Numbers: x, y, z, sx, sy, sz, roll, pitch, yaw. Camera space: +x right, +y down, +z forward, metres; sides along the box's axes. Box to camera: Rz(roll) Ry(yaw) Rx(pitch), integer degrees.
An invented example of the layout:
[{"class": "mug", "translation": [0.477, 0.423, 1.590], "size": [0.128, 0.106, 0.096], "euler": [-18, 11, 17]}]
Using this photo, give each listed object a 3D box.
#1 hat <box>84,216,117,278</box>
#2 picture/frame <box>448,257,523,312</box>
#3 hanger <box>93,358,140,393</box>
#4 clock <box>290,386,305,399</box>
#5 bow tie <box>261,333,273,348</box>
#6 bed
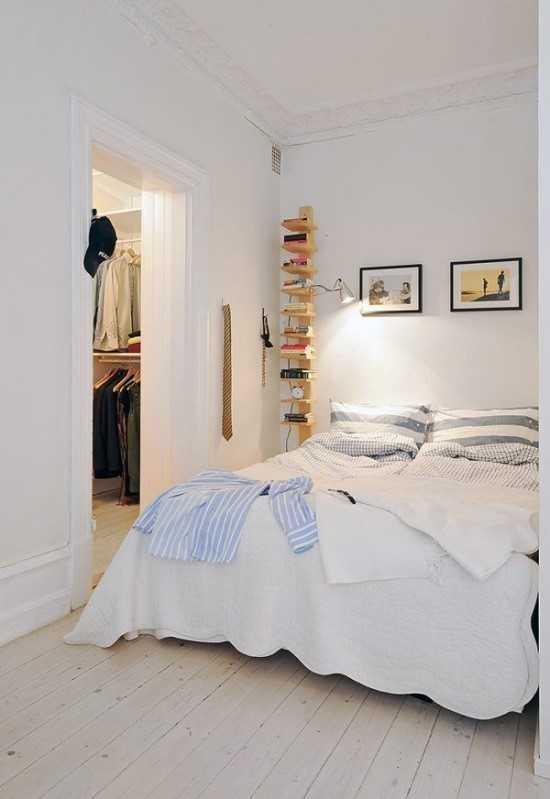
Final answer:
[{"class": "hat", "translation": [-0.755, -0.672, 2.685], "size": [0.100, 0.285, 0.204], "euler": [1, 3, 3]}, {"class": "picture/frame", "translation": [1.323, -0.715, 3.820], "size": [0.349, 0.280, 0.014], "euler": [1, 0, 35]}, {"class": "hanger", "translation": [-1.199, -0.179, 4.668], "size": [0.259, 0.177, 0.097], "euler": [-2, -5, 32]}, {"class": "clock", "translation": [0.160, -0.047, 4.315], "size": [0.080, 0.086, 0.020], "euler": [1, 0, 28]}, {"class": "bow tie", "translation": [-0.056, -0.412, 4.386], "size": [0.059, 0.091, 0.209], "euler": [1, 3, 12]}, {"class": "bed", "translation": [0.384, 0.484, 2.975], "size": [1.611, 0.810, 2.255], "euler": [2, 4, 23]}]
